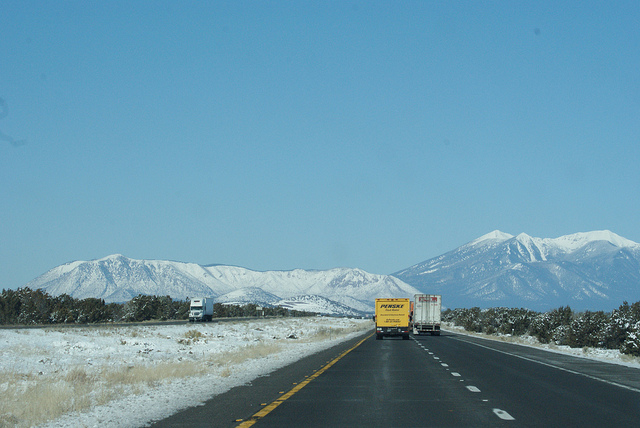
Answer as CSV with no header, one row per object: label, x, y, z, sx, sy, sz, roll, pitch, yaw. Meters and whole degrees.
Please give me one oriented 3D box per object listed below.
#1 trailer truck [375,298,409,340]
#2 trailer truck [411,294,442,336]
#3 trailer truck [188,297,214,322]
trailer truck,6.194,8.915,68.735,1.985,2.450,3.575,0,-3,6
trailer truck,12.647,10.854,86.060,3.424,4.468,6.974,-1,-6,26
trailer truck,-18.583,14.679,120.227,1.998,4.136,6.978,0,-12,-5
